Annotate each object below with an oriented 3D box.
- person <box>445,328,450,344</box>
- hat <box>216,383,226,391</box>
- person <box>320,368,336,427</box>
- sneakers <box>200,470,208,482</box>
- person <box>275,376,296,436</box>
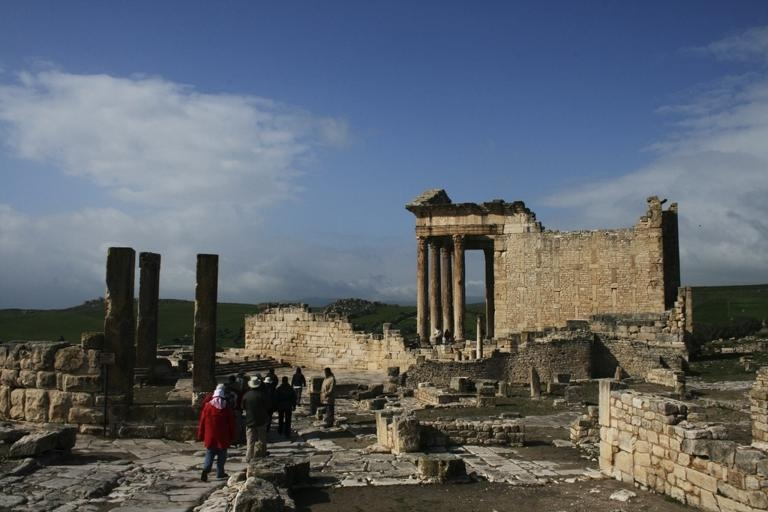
[{"bbox_3d":[3.729,4.601,42.485,0.412,0.728,1.049,-2,-9,4],"label":"person"},{"bbox_3d":[-4.361,3.559,19.737,0.171,0.186,0.214,5,-8,-41],"label":"hat"},{"bbox_3d":[-1.961,5.071,26.633,0.689,1.932,0.796,2,-2,-6],"label":"person"},{"bbox_3d":[-4.608,5.652,18.894,0.189,0.263,0.312,1,-9,-14],"label":"sneakers"},{"bbox_3d":[-3.226,4.921,24.033,0.601,1.899,1.088,0,-10,-8],"label":"person"}]
